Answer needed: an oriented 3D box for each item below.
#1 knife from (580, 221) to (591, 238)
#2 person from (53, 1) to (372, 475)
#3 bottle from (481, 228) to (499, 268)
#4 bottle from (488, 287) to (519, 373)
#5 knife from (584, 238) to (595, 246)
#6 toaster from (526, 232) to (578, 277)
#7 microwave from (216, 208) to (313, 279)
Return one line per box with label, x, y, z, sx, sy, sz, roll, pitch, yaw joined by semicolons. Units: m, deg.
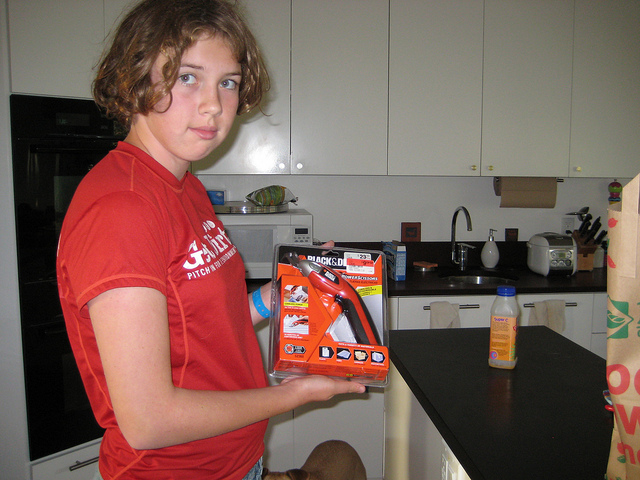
knife;1.584;-0.064;3.163;0.050;0.086;0.021;19;5;44
person;-0.317;-0.125;2.164;0.962;2.220;1.087;-4;13;-13
bottle;1.034;0.053;3.226;0.094;0.229;0.089;-1;4;0
bottle;0.577;0.275;1.657;0.089;0.265;0.066;-1;4;5
knife;1.596;0.007;3.144;0.074;0.036;0.023;-4;5;-30
toaster;1.359;0.067;3.179;0.239;0.273;0.350;1;4;5
microwave;-0.257;-0.016;2.837;0.450;0.334;0.321;-1;1;-5
